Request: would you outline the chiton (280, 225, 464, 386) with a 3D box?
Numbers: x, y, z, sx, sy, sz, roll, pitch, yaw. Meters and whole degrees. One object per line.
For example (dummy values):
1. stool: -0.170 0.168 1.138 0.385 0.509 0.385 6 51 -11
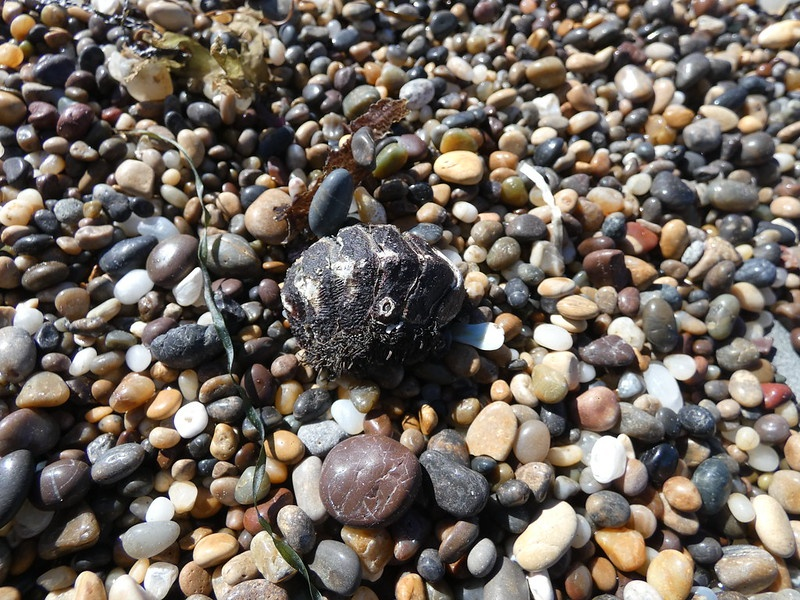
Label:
1. chiton: -0.121 -0.021 3.746 0.798 0.405 0.511 -9 59 -9
